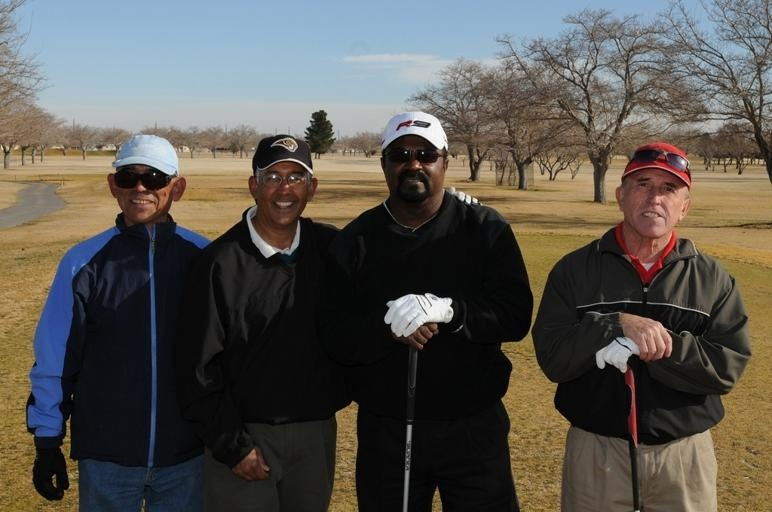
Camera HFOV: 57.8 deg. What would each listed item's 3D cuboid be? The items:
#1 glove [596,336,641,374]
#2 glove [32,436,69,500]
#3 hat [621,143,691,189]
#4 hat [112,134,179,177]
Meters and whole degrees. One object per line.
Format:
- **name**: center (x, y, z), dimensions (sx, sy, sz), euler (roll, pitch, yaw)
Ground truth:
- **glove**: center (1.769, 0.756, 5.407), dimensions (0.293, 0.283, 0.140), euler (-6, 2, 33)
- **glove**: center (-2.612, 1.642, 5.454), dimensions (0.227, 0.548, 0.243), euler (-4, 11, -24)
- **hat**: center (2.210, -0.775, 5.648), dimensions (0.618, 0.351, 0.787), euler (9, 5, 18)
- **hat**: center (-1.953, -0.839, 5.756), dimensions (0.357, 0.240, 0.461), euler (4, -7, -1)
